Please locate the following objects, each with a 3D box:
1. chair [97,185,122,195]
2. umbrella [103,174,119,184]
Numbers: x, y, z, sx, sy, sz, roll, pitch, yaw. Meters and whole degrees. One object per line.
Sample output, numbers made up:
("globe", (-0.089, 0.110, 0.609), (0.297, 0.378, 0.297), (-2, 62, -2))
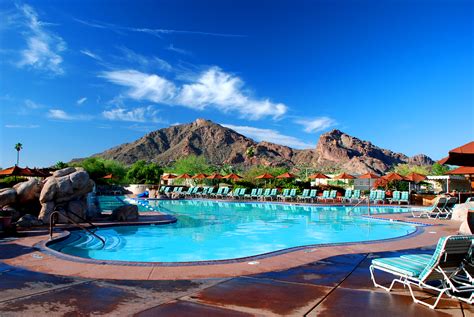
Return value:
("chair", (-19.722, 4.801, 42.626), (3.746, 1.367, 2.327), (0, -5, -12))
("umbrella", (-23.733, 3.806, 51.584), (3.966, 1.818, 3.141), (1, -2, -6))
